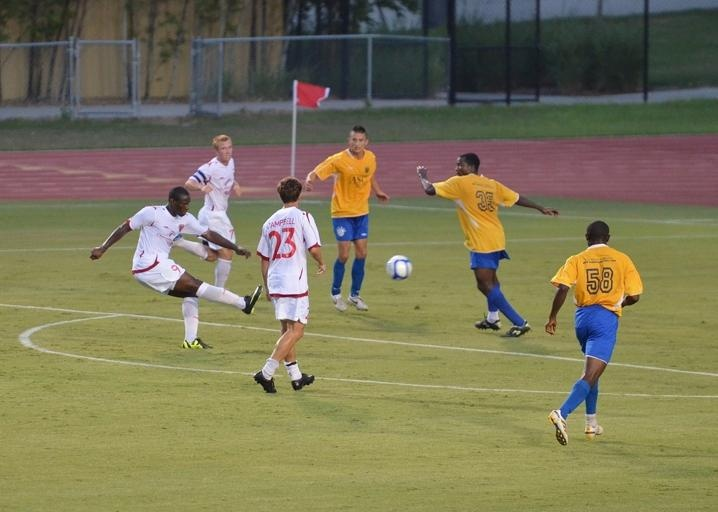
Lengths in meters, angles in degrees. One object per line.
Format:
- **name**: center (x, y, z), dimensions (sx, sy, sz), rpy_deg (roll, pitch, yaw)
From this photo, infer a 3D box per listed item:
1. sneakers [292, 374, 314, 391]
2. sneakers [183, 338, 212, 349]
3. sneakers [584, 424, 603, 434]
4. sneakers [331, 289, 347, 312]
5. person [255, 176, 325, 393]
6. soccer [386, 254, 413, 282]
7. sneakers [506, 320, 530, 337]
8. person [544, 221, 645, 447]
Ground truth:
- **sneakers**: center (-0.951, 2.088, 27.708), dimensions (0.398, 0.176, 0.117), rpy_deg (-20, 44, -17)
- **sneakers**: center (-2.822, 1.539, 29.275), dimensions (0.577, 0.176, 0.180), rpy_deg (0, 4, -9)
- **sneakers**: center (3.660, 2.742, 26.468), dimensions (0.318, 0.217, 0.133), rpy_deg (-3, 5, -37)
- **sneakers**: center (-0.361, 0.847, 31.265), dimensions (0.187, 0.180, 0.420), rpy_deg (-20, 51, -24)
- **person**: center (-1.171, 0.496, 27.746), dimensions (1.098, 3.485, 0.800), rpy_deg (0, 4, -1)
- **soccer**: center (0.735, 0.255, 31.622), dimensions (0.514, 0.411, 0.489), rpy_deg (14, -23, -37)
- **sneakers**: center (2.809, 1.303, 29.836), dimensions (0.441, 0.194, 0.196), rpy_deg (-22, 13, 15)
- **person**: center (3.557, 1.210, 26.611), dimensions (1.556, 3.439, 0.680), rpy_deg (-2, 5, -29)
